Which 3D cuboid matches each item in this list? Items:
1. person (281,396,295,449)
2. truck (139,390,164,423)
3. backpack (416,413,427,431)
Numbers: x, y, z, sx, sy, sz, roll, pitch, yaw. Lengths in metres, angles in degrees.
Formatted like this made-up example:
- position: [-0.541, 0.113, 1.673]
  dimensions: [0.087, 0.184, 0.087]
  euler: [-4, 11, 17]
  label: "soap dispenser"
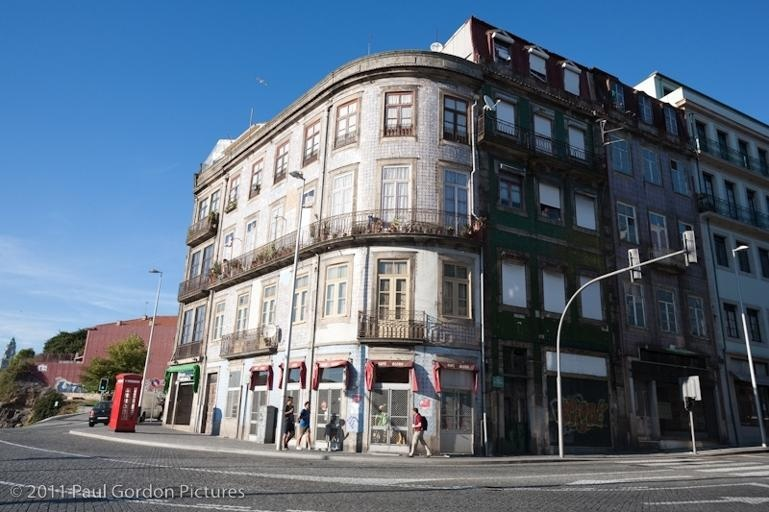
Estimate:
- position: [-5.181, 8.982, 28.786]
  dimensions: [0.551, 2.686, 1.268]
  euler: [5, -21, -5]
  label: "person"
- position: [-22.240, 14.425, 50.779]
  dimensions: [1.972, 1.824, 3.465]
  euler: [1, -8, -10]
  label: "truck"
- position: [1.819, 8.512, 27.212]
  dimensions: [0.182, 0.773, 1.125]
  euler: [-4, -23, 17]
  label: "backpack"
